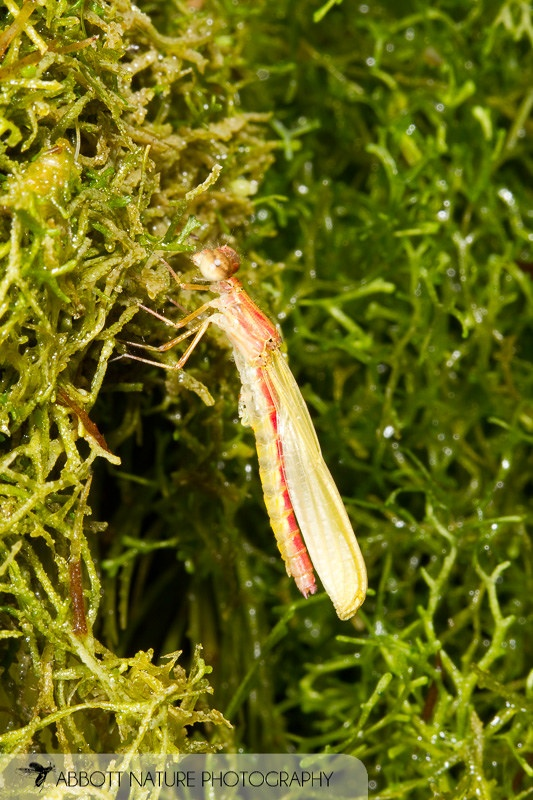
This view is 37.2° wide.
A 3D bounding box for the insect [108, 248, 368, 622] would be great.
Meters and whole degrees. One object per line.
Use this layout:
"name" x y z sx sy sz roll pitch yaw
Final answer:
"insect" 0.027 0.028 0.495 0.071 0.121 0.232 -37 104 -23
